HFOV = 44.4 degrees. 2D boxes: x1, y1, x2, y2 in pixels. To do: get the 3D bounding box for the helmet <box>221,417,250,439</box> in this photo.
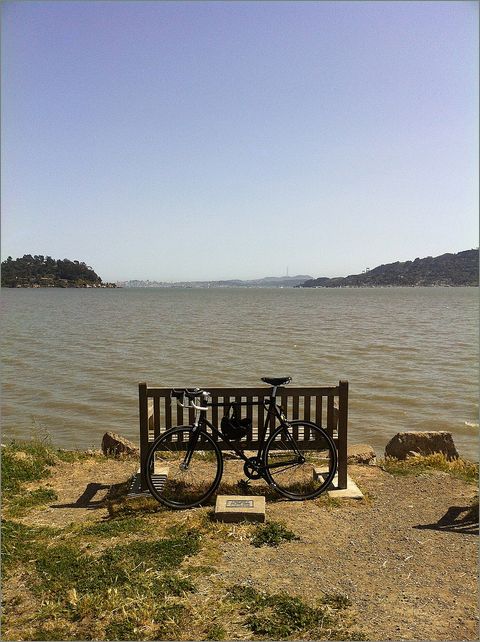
[{"bbox_3d":[-0.054,1.299,7.126,0.299,0.222,0.253,-1,5,-15],"label":"helmet"}]
